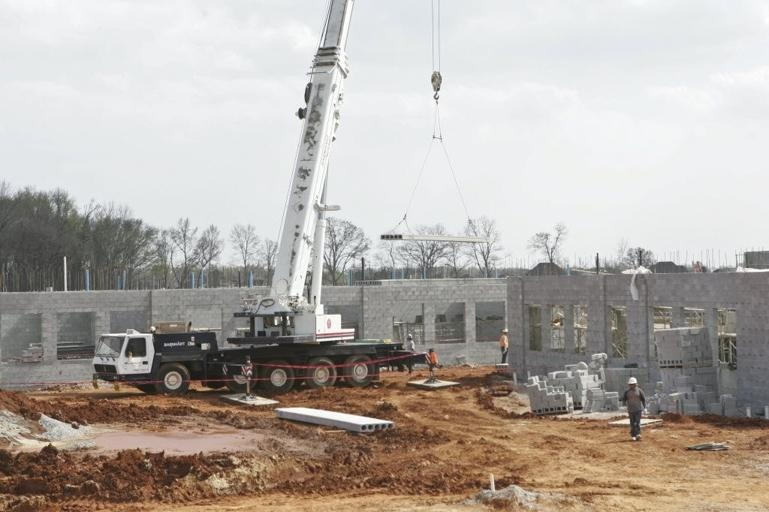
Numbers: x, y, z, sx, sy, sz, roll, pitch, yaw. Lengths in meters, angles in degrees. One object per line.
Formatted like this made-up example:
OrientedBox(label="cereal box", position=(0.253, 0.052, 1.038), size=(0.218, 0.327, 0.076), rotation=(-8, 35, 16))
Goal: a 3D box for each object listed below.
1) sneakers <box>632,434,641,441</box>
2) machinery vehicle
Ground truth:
OrientedBox(label="sneakers", position=(7.794, 5.717, 32.321), size=(0.287, 0.164, 0.168), rotation=(1, -10, -4))
OrientedBox(label="machinery vehicle", position=(-4.362, -1.352, 39.990), size=(9.778, 13.439, 5.219), rotation=(0, -9, 2))
